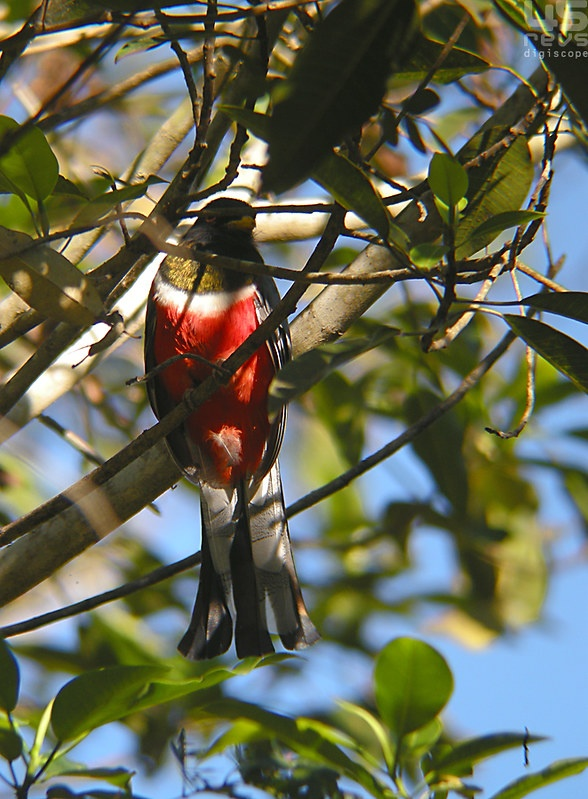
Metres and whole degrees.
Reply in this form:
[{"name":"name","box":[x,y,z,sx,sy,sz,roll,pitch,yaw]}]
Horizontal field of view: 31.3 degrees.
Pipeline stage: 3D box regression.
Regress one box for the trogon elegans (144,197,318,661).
[{"name":"trogon elegans","box":[-0.234,0.020,2.942,0.441,1.336,0.502,-4,-15,-4]}]
